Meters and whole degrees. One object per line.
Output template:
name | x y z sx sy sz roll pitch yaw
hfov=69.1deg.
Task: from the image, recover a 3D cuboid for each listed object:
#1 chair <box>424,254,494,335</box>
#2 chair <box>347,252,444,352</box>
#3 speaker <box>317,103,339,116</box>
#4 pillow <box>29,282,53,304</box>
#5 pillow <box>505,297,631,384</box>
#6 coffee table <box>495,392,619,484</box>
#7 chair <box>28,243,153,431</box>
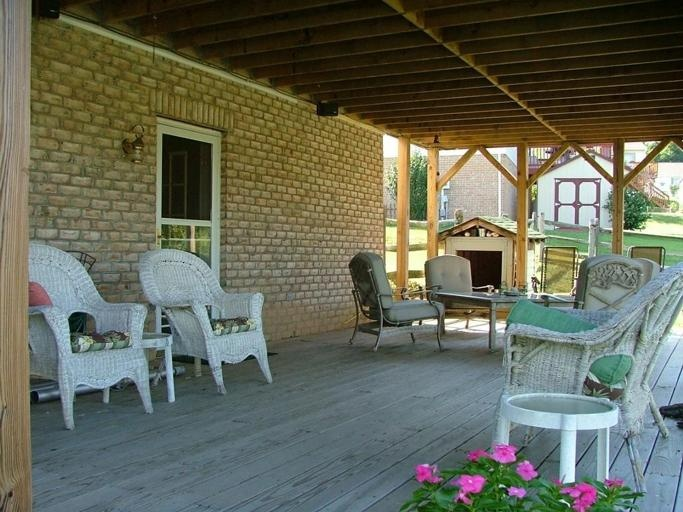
chair | 1.789 0.532 7.426 0.898 0.916 0.878 -1 5 -10
chair | 0.639 0.555 6.578 1.177 0.849 1.411 -4 2 -3
speaker | -0.186 -1.874 6.469 0.227 0.114 0.228 6 8 36
pillow | -2.146 0.257 3.488 0.125 0.177 0.404 -6 3 -32
pillow | 1.255 0.435 2.725 0.507 0.140 0.476 9 4 22
coffee table | 0.876 0.745 2.045 0.524 0.289 0.426 6 -3 -13
chair | -1.993 0.500 3.604 0.877 1.005 0.906 6 0 36
